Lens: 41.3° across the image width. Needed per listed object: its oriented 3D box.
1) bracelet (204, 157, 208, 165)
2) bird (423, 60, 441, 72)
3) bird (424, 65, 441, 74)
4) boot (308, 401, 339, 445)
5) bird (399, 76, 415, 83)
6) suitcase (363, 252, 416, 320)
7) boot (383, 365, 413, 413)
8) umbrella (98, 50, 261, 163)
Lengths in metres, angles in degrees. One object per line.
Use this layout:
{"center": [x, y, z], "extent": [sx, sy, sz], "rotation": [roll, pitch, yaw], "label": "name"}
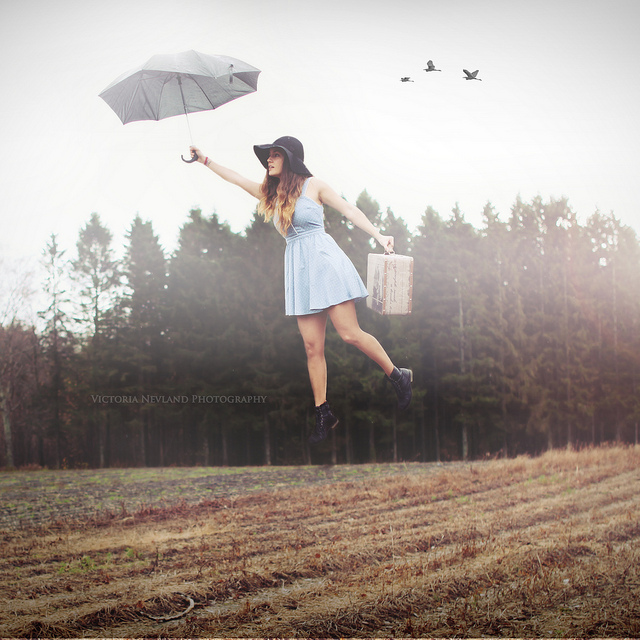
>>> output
{"center": [-0.864, -1.172, 6.249], "extent": [0.011, 0.053, 0.032], "rotation": [13, 3, -24], "label": "bracelet"}
{"center": [0.927, -2.112, 7.051], "extent": [0.100, 0.087, 0.051], "rotation": [-4, -7, 6], "label": "bird"}
{"center": [0.932, -2.085, 7.056], "extent": [0.142, 0.065, 0.038], "rotation": [-2, -7, -14], "label": "bird"}
{"center": [-0.007, 0.718, 6.042], "extent": [0.101, 0.228, 0.315], "rotation": [5, 37, 42], "label": "boot"}
{"center": [0.718, -1.994, 7.036], "extent": [0.130, 0.060, 0.047], "rotation": [-2, -7, -11], "label": "bird"}
{"center": [0.458, -0.256, 5.936], "extent": [0.196, 0.454, 0.387], "rotation": [-1, 9, -23], "label": "suitcase"}
{"center": [0.554, 0.459, 6.161], "extent": [0.233, 0.413, 0.134], "rotation": [-1, 1, -28], "label": "boot"}
{"center": [-1.117, -1.515, 6.660], "extent": [0.874, 0.701, 0.883], "rotation": [-14, 15, -34], "label": "umbrella"}
